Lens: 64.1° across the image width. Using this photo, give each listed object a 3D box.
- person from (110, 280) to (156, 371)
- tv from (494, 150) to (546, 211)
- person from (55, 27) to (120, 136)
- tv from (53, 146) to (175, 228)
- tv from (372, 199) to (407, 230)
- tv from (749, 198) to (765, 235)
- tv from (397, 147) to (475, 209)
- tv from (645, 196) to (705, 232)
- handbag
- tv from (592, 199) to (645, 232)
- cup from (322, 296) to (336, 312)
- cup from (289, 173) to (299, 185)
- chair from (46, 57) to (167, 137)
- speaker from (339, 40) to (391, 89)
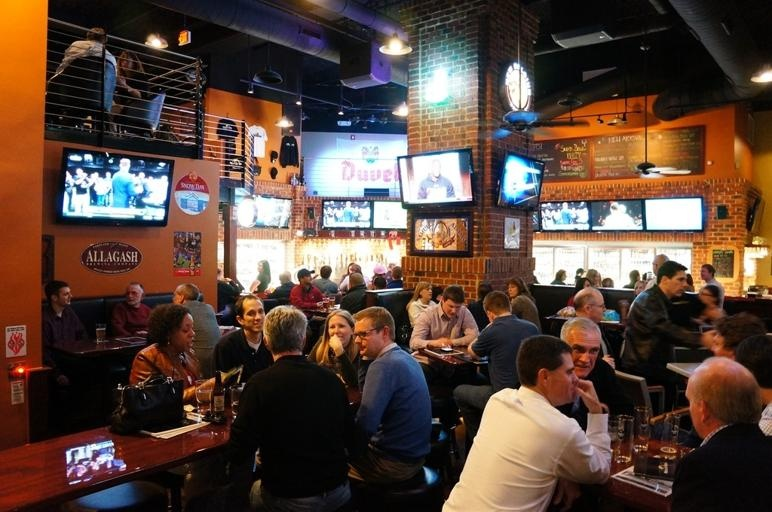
[{"bbox_3d":[-3.881,0.850,9.513,0.675,0.862,0.632,6,-9,-37],"label":"person"},{"bbox_3d":[2.209,-1.276,10.392,0.192,0.824,1.465,12,8,35],"label":"tv"},{"bbox_3d":[-4.740,-2.690,9.632,0.893,1.524,1.471,-1,2,-28],"label":"person"},{"bbox_3d":[-4.262,-1.065,9.456,1.423,0.952,0.136,0,14,-37],"label":"tv"},{"bbox_3d":[0.048,-1.319,19.650,1.439,0.960,0.191,0,-2,-16],"label":"tv"},{"bbox_3d":[9.243,-1.029,15.417,0.152,1.118,0.853,10,16,36],"label":"tv"},{"bbox_3d":[0.858,-1.275,10.091,1.092,0.710,0.149,-1,7,36],"label":"tv"},{"bbox_3d":[6.943,-1.008,14.710,0.905,0.596,0.124,2,2,37],"label":"tv"},{"bbox_3d":[-2.146,1.372,5.589,0.500,0.349,0.207,3,-11,-44],"label":"handbag"},{"bbox_3d":[5.873,-1.042,15.491,0.869,0.595,0.097,2,3,41],"label":"tv"},{"bbox_3d":[-1.109,0.907,11.731,0.261,0.269,0.246,-1,-2,0],"label":"cup"},{"bbox_3d":[-2.873,-2.379,19.152,0.163,0.393,0.375,1,2,30],"label":"cup"},{"bbox_3d":[-4.557,-2.466,9.878,1.739,1.237,1.197,-3,8,-43],"label":"chair"},{"bbox_3d":[-0.337,-3.858,12.759,0.952,0.940,0.957,-6,8,-40],"label":"speaker"}]
